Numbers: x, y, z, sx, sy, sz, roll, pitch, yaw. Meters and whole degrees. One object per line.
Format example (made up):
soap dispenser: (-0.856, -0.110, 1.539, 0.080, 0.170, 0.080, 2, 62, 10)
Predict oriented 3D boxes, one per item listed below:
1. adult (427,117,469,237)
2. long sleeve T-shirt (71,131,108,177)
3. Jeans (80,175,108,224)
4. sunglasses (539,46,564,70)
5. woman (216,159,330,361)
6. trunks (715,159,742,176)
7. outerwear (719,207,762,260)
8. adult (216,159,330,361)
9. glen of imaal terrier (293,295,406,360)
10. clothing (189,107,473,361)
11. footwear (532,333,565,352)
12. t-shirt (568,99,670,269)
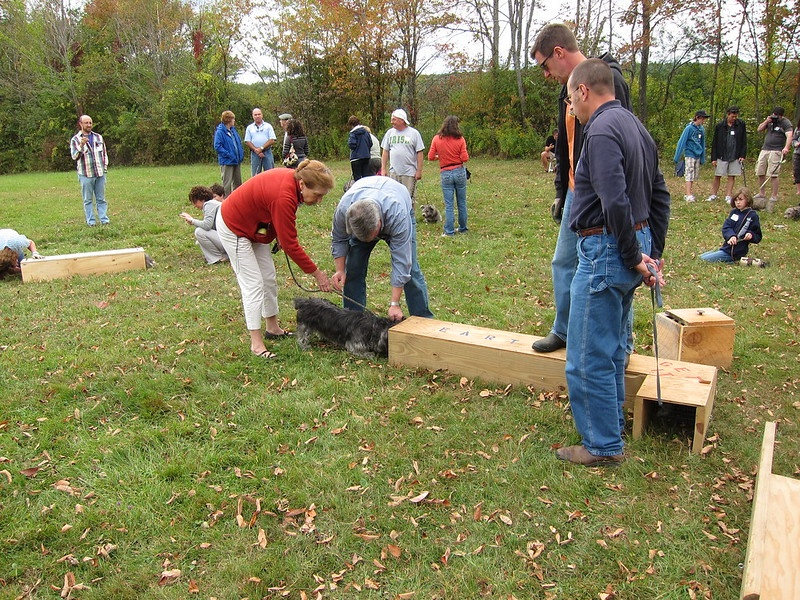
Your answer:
adult: (0.859, -2.195, 12.685, 0.745, 2.070, 0.696, -2, 14, 2)
long sleeve T-shirt: (-5.661, -2.650, 13.042, 0.548, 0.819, 0.336, -7, 13, -26)
Jeans: (-5.768, -1.905, 13.527, 0.412, 0.935, 0.888, -7, 13, -23)
sunglasses: (1.416, -2.239, 6.635, 0.218, 0.097, 0.171, -45, 10, -11)
woman: (-1.413, -0.382, 7.758, 1.043, 2.044, 0.619, 7, 15, 38)
trunks: (6.626, -2.789, 14.471, 0.509, 0.513, 0.306, 6, 8, 28)
outerwear: (5.012, -0.967, 10.552, 0.506, 0.739, 0.541, 6, 14, 32)
adult: (-1.409, -0.385, 7.770, 1.059, 2.044, 0.592, 6, 14, 35)
glen of imaal terrier: (-0.590, 0.332, 8.015, 1.003, 0.470, 0.275, 16, 34, 18)
clothing: (-0.419, -0.990, 8.446, 3.367, 2.843, 1.265, -2, 24, -5)
footwear: (1.479, 0.412, 7.147, 0.335, 0.148, 0.149, -1, 21, -17)
t-shirt: (1.859, -0.980, 6.015, 0.825, 1.374, 0.591, -2, 11, 0)
